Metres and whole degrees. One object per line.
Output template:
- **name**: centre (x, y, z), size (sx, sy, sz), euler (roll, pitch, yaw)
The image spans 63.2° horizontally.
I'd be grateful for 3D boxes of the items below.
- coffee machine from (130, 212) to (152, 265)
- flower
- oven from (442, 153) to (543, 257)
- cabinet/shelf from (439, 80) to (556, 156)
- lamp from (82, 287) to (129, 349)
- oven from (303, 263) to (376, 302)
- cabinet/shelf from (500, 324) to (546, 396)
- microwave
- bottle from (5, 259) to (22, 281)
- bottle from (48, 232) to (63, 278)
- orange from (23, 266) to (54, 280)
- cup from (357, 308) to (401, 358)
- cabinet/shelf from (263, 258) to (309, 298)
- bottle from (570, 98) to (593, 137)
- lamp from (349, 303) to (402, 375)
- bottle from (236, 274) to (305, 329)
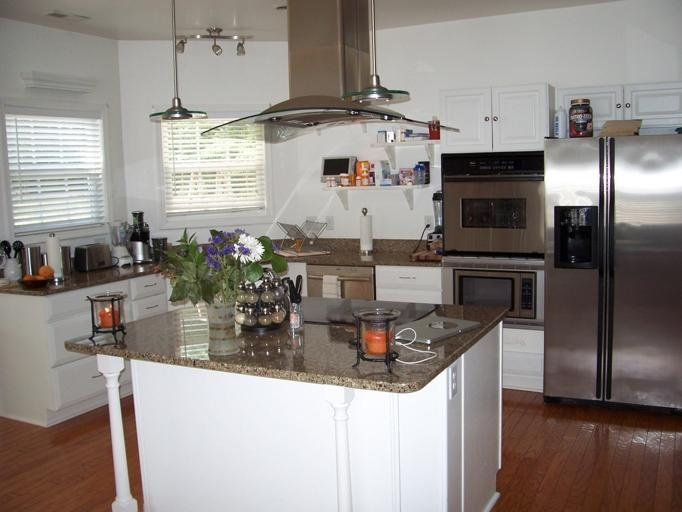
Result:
- **coffee machine**: centre (-1.975, -0.178, 5.372), size (0.254, 0.488, 0.235), euler (1, 7, 20)
- **flower**: centre (-0.693, 0.051, 2.959), size (0.487, 0.318, 0.488), euler (2, 3, 35)
- **oven**: centre (1.361, -0.412, 5.027), size (1.162, 1.096, 0.795), euler (1, 3, 25)
- **cabinet/shelf**: centre (1.287, -1.167, 4.792), size (0.914, 0.541, 0.313), euler (-1, 5, 9)
- **lamp**: centre (-1.368, 0.352, 3.096), size (0.194, 0.255, 0.186), euler (-5, -2, 8)
- **oven**: centre (0.016, 0.239, 5.306), size (0.553, 0.378, 0.349), euler (1, 0, 22)
- **cabinet/shelf**: centre (1.594, 0.817, 4.853), size (0.418, 0.520, 0.373), euler (-1, 13, 21)
- **microwave**: centre (1.355, 0.281, 4.909), size (0.804, 0.503, 0.478), euler (2, 9, 14)
- **bottle**: centre (-2.737, 0.114, 4.592), size (0.132, 0.168, 0.168), euler (-4, 13, -41)
- **bottle**: centre (-2.403, -0.005, 4.633), size (0.114, 0.352, 0.236), euler (-9, 14, -27)
- **orange**: centre (-2.461, 0.134, 4.481), size (0.196, 0.078, 0.116), euler (-3, -2, -2)
- **cup**: centre (0.172, 0.383, 2.626), size (0.208, 0.205, 0.176), euler (1, -6, -26)
- **cabinet/shelf**: centre (-0.534, 0.198, 5.569), size (0.342, 0.609, 0.322), euler (-1, 10, -3)
- **bottle**: centre (1.927, -1.100, 4.455), size (0.187, 0.316, 0.185), euler (-5, 11, 1)
- **lamp**: centre (0.177, 0.382, 2.603), size (0.268, 0.298, 0.253), euler (1, 2, 21)
- **bottle**: centre (-0.369, 0.255, 3.143), size (0.274, 0.260, 0.364), euler (-2, -2, 34)
